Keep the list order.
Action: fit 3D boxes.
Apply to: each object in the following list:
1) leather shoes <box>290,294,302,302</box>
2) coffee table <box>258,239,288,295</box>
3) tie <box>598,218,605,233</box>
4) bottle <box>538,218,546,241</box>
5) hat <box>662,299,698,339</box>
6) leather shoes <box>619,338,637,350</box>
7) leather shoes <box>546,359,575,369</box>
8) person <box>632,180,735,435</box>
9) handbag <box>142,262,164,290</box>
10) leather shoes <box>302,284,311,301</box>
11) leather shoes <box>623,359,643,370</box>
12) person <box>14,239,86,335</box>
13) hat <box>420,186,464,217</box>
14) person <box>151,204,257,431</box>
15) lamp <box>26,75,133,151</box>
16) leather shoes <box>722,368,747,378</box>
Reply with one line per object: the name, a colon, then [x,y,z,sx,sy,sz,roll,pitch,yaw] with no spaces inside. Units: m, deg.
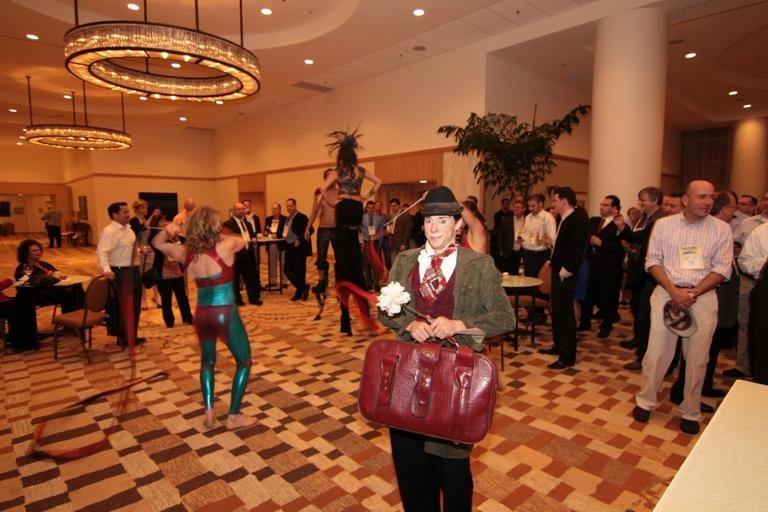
leather shoes: [-1.899,0.912,11.422,0.225,0.149,0.124,9,-8,-29]
coffee table: [-2.755,0.261,12.499,0.800,1.049,1.082,3,-6,-10]
tie: [3.810,-0.550,9.159,0.051,0.190,0.136,20,2,-19]
bottle: [2.758,-0.431,9.176,0.066,0.292,0.206,6,4,27]
hat: [3.650,0.765,6.576,0.319,0.461,0.191,-16,-8,31]
leather shoes: [4.011,1.456,8.708,0.324,0.227,0.112,3,-3,20]
leather shoes: [2.653,1.639,7.926,0.401,0.161,0.147,0,0,-6]
person: [3.783,0.631,6.682,1.029,3.131,0.572,2,9,22]
handbag: [-4.107,0.354,9.380,0.285,0.374,0.396,-21,-6,-41]
leather shoes: [-1.670,0.773,11.399,0.128,0.388,0.169,8,15,13]
leather shoes: [3.743,1.635,7.957,0.314,0.127,0.109,5,9,13]
person: [-5.668,0.456,8.923,0.821,1.494,0.709,-2,13,9]
hat: [0.556,-0.528,5.156,0.367,0.295,0.150,-1,8,2]
person: [-2.190,0.780,6.709,1.073,2.813,0.527,2,9,26]
lamp: [-8.743,-4.132,14.951,2.460,1.885,2.526,0,1,31]
leather shoes: [5.144,1.720,7.767,0.346,0.141,0.126,-5,0,18]
